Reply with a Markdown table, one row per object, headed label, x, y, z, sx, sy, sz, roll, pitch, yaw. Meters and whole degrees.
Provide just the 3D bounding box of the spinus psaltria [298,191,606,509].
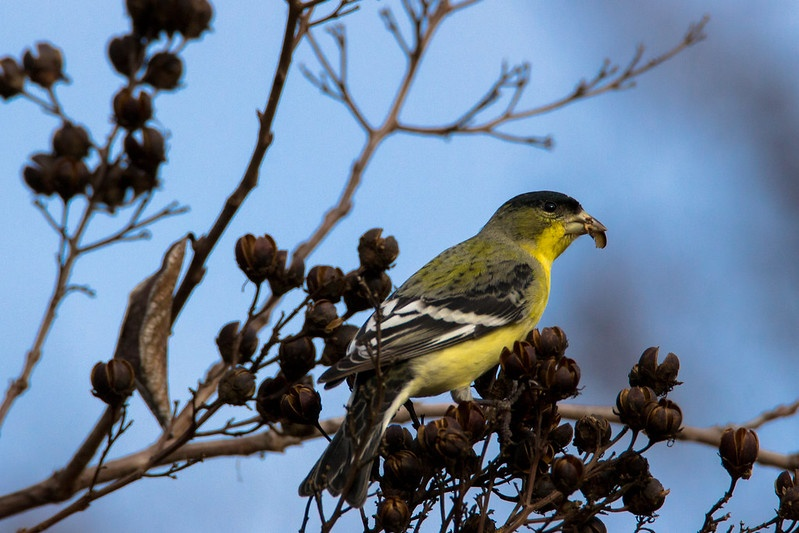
| label | x | y | z | sx | sy | sz | roll | pitch | yaw |
| --- | --- | --- | --- | --- | --- | --- | --- | --- | --- |
| spinus psaltria | 0.442 | 0.424 | 9.827 | 2.580 | 0.876 | 1.470 | -16 | -91 | -21 |
